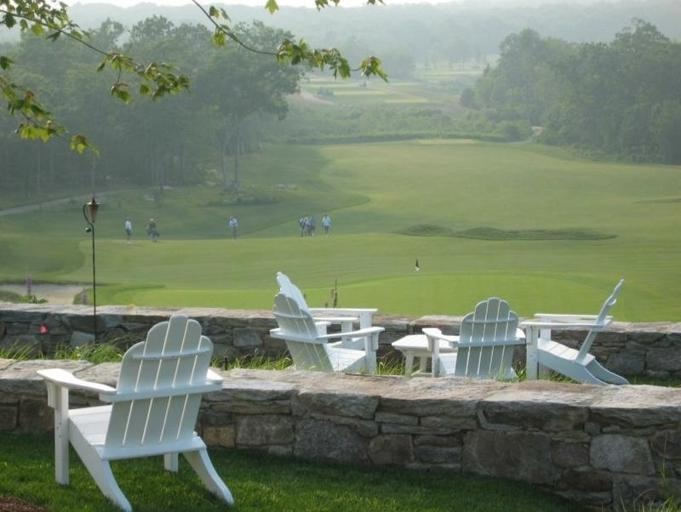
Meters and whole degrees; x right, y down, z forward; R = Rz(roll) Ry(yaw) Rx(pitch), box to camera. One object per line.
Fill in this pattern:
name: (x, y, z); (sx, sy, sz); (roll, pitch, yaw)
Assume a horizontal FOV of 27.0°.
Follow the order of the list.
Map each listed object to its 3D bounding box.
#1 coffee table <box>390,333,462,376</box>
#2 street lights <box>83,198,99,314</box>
coffee table: (4.066, 4.974, 69.910); (2.630, 2.012, 2.474); (1, 5, 3)
street lights: (-14.635, 0.211, 83.283); (0.773, 7.318, 0.723); (11, 12, 44)
